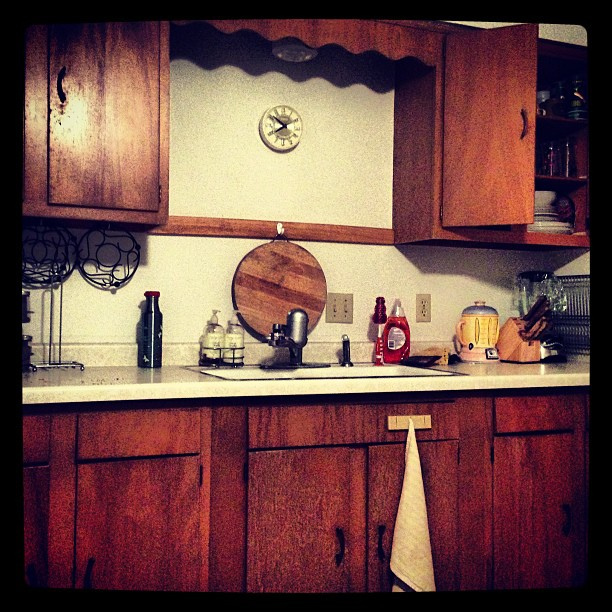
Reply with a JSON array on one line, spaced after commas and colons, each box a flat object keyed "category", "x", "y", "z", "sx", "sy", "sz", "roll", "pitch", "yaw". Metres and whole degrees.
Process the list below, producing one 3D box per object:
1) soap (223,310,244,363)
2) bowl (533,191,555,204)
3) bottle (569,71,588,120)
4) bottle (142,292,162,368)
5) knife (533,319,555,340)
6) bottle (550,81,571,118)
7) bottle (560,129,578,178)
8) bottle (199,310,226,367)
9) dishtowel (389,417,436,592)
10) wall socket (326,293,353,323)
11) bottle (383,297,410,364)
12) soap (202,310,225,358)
[{"category": "soap", "x": -0.216, "y": 0.082, "z": 2.446, "sx": 0.059, "sy": 0.175, "sz": 0.065, "roll": 1, "pitch": 0, "yaw": 31}, {"category": "bowl", "x": 0.782, "y": -0.362, "z": 2.641, "sx": 0.057, "sy": 0.046, "sz": 0.066, "roll": -1, "pitch": 3, "yaw": -7}, {"category": "bottle", "x": 0.900, "y": -0.694, "z": 2.661, "sx": 0.045, "sy": 0.155, "sz": 0.061, "roll": 1, "pitch": -1, "yaw": 19}, {"category": "bottle", "x": -0.445, "y": 0.063, "z": 2.340, "sx": 0.055, "sy": 0.184, "sz": 0.036, "roll": 1, "pitch": -1, "yaw": -18}, {"category": "knife", "x": 0.784, "y": 0.072, "z": 2.633, "sx": 0.014, "sy": 0.070, "sz": 0.063, "roll": 17, "pitch": 9, "yaw": 6}, {"category": "bottle", "x": 0.850, "y": -0.687, "z": 2.673, "sx": 0.065, "sy": 0.124, "sz": 0.040, "roll": 1, "pitch": -1, "yaw": 19}, {"category": "bottle", "x": 0.892, "y": -0.514, "z": 2.718, "sx": 0.061, "sy": 0.146, "sz": 0.048, "roll": 1, "pitch": -1, "yaw": 29}, {"category": "bottle", "x": -0.285, "y": 0.093, "z": 2.444, "sx": 0.064, "sy": 0.190, "sz": 0.071, "roll": 8, "pitch": -17, "yaw": -21}, {"category": "dishtowel", "x": 0.271, "y": 0.497, "z": 2.023, "sx": 0.096, "sy": 0.433, "sz": 0.094, "roll": 1, "pitch": -1, "yaw": 37}, {"category": "wall socket", "x": 0.109, "y": 0.000, "z": 2.677, "sx": 0.076, "sy": 0.091, "sz": 0.007, "roll": 3, "pitch": -4, "yaw": -28}, {"category": "bottle", "x": 0.302, "y": 0.060, "z": 2.620, "sx": 0.084, "sy": 0.244, "sz": 0.064, "roll": 4, "pitch": 35, "yaw": 12}, {"category": "soap", "x": -0.278, "y": 0.088, "z": 2.437, "sx": 0.067, "sy": 0.177, "sz": 0.071, "roll": -11, "pitch": -18, "yaw": 34}]
